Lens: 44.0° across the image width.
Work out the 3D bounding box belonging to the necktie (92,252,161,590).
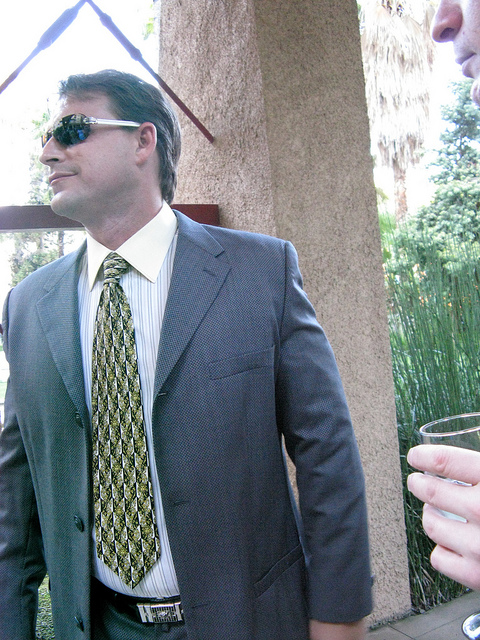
[{"bbox_3d":[-0.262,0.227,1.294,0.138,0.667,0.086,-8,-8,3],"label":"necktie"}]

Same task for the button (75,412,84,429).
[{"bbox_3d":[-0.345,0.218,1.276,0.006,0.037,0.035,-1,-12,-34],"label":"button"}]

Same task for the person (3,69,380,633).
[{"bbox_3d":[-0.210,0.038,1.416,0.857,1.433,0.358,-12,-10,23],"label":"person"}]

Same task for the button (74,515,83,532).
[{"bbox_3d":[-0.343,0.436,1.261,0.027,0.036,0.007,-16,-12,39],"label":"button"}]
